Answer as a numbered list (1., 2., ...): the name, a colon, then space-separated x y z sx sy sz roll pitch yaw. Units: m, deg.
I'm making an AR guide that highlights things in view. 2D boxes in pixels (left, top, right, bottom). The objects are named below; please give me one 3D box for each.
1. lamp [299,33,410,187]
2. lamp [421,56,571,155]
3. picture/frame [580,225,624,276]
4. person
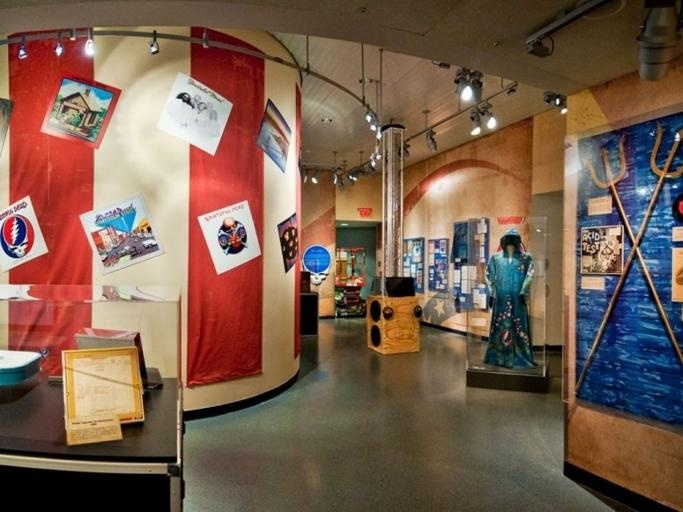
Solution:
1. lamp: 0.290 -2.107 8.924 1.145 1.966 0.472 -2 19 -13
2. lamp: 2.062 -2.113 7.444 1.562 0.938 3.885 1 7 7
3. picture/frame: 2.243 -0.053 4.475 0.056 0.575 0.408 4 -3 -39
4. person: 2.228 0.562 6.819 0.664 1.789 0.256 2 7 19
